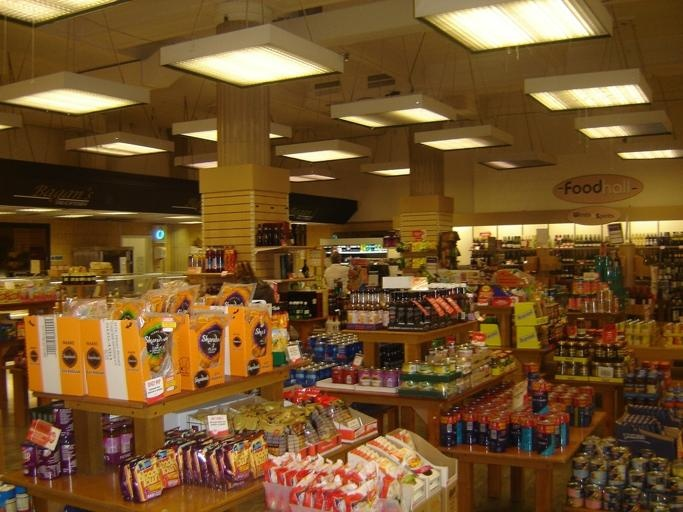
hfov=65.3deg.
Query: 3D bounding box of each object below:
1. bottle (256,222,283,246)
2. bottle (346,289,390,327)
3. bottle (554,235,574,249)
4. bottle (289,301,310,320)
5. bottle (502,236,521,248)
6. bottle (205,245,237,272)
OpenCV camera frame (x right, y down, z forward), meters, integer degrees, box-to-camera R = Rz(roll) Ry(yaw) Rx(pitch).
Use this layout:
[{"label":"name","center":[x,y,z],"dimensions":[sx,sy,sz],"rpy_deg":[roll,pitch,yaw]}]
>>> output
[{"label":"bottle","center":[-1.055,-0.323,7.897],"dimensions":[0.438,0.311,0.205],"rpy_deg":[3,5,16]},{"label":"bottle","center":[0.255,0.488,5.112],"dimensions":[0.400,0.302,0.382],"rpy_deg":[0,2,0]},{"label":"bottle","center":[6.124,-0.392,14.667],"dimensions":[0.429,0.311,0.195],"rpy_deg":[7,16,9]},{"label":"bottle","center":[-0.702,0.888,8.787],"dimensions":[0.352,0.245,0.331],"rpy_deg":[1,1,0]},{"label":"bottle","center":[4.777,-0.384,15.005],"dimensions":[0.469,0.222,0.418],"rpy_deg":[0,0,10]},{"label":"bottle","center":[-1.791,0.043,7.968],"dimensions":[0.526,0.353,0.154],"rpy_deg":[1,2,17]}]
